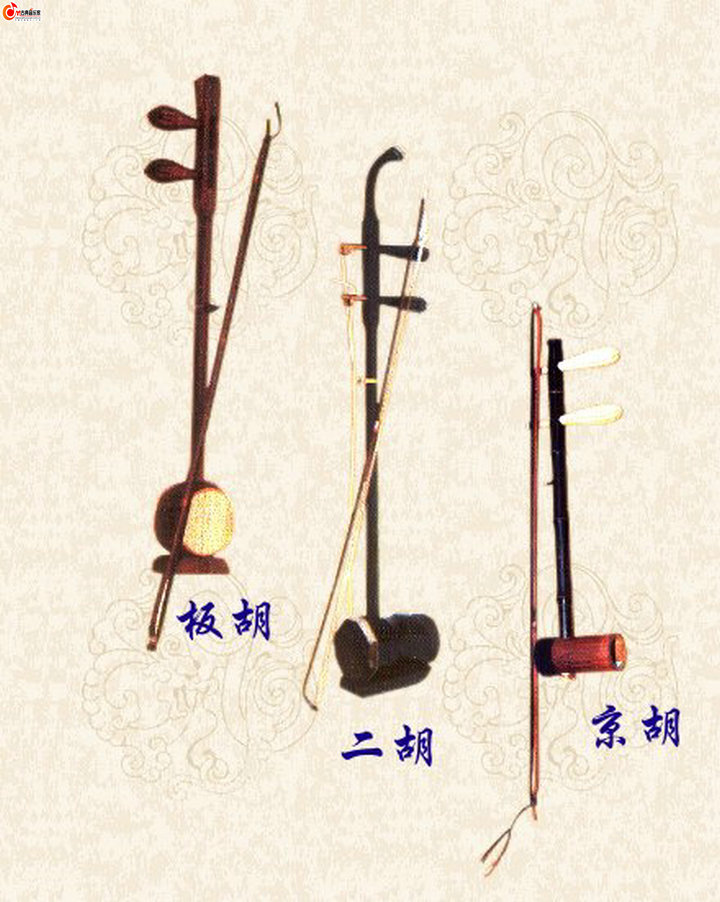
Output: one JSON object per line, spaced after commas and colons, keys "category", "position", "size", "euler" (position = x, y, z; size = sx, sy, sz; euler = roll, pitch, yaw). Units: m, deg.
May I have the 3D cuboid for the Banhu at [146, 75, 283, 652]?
{"category": "Banhu", "position": [-0.205, -0.120, 2.118], "size": [0.182, 0.050, 0.783], "euler": [1, 84, 1]}
